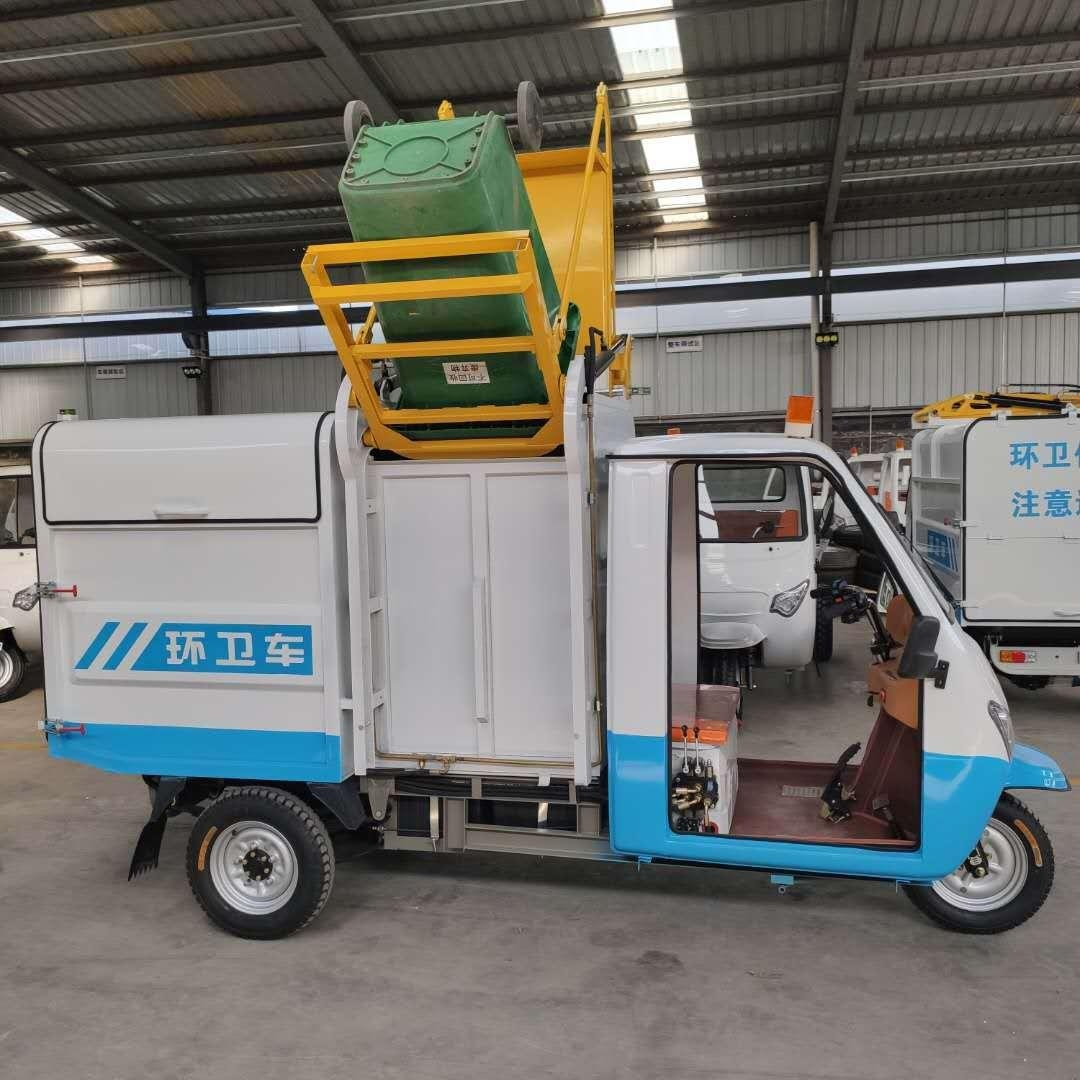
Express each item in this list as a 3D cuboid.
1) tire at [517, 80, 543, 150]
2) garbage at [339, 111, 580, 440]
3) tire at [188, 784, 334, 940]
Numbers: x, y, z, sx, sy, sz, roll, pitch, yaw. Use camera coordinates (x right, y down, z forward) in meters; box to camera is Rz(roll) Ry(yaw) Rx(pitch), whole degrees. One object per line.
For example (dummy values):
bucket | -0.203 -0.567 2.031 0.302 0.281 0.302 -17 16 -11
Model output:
tire | -0.067 -1.978 5.026 0.102 0.315 0.335 0 28 12
garbage | -0.354 -1.027 4.278 0.741 1.244 0.669 -1 9 1
tire | -1.227 1.425 4.775 0.701 0.657 0.220 1 2 18
